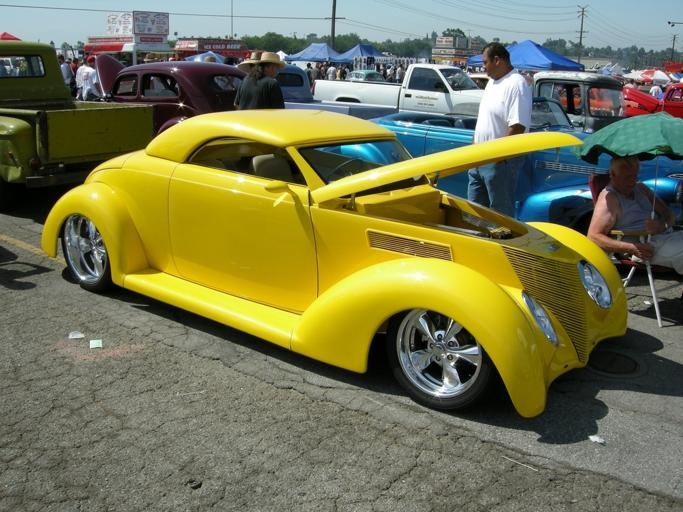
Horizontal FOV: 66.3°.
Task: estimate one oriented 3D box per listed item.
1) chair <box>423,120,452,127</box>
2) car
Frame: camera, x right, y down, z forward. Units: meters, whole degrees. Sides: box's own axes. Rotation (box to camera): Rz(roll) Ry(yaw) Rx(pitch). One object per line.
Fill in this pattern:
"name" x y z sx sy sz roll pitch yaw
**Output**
"chair" 1.463 -2.052 8.072 0.377 0.114 0.254 10 17 20
"car" -0.139 -0.218 4.365 4.309 1.926 1.521 11 19 30
